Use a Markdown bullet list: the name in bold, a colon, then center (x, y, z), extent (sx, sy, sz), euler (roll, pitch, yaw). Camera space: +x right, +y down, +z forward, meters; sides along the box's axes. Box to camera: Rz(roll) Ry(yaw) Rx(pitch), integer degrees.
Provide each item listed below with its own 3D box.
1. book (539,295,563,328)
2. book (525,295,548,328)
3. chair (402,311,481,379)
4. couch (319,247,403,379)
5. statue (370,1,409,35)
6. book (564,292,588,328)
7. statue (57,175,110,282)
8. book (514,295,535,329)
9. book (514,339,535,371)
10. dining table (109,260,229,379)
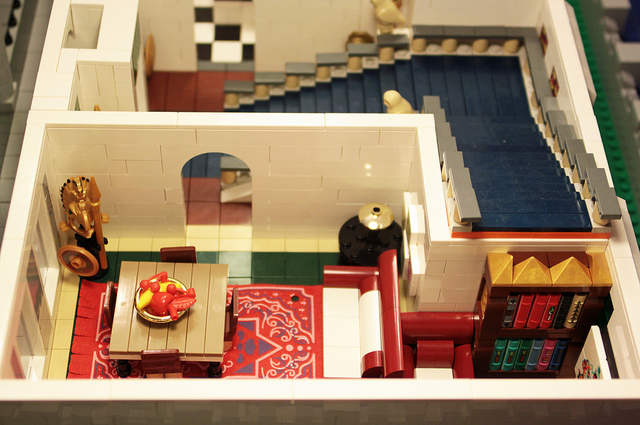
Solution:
- **book**: center (2.842, 1.221, 9.933), extent (0.175, 0.513, 0.161), euler (-3, 19, -9)
- **book**: center (2.634, 1.222, 9.929), extent (0.088, 0.323, 0.330), euler (19, 17, 9)
- **chair**: center (1.640, 1.836, 10.776), extent (1.189, 1.092, 0.822), euler (-1, 62, 1)
- **couch**: center (0.481, 1.487, 10.538), extent (1.033, 1.187, 1.825), euler (-1, 54, -1)
- **statue**: center (1.055, -2.929, 12.158), extent (0.325, 0.502, 0.559), euler (15, 24, 37)
- **book**: center (3.149, 1.210, 9.931), extent (0.197, 0.540, 0.135), euler (1, 19, 4)
- **statue**: center (-3.135, 0.251, 10.582), extent (0.676, 1.591, 0.599), euler (-7, 20, -18)
- **book**: center (2.512, 1.233, 9.943), extent (0.160, 0.527, 0.155), euler (-3, 19, -7)
- **book**: center (2.555, 1.851, 10.513), extent (0.237, 0.399, 0.413), euler (12, -9, -8)
- **dining table**: center (-1.912, 1.469, 10.439), extent (1.593, 1.454, 1.115), euler (1, -22, -3)
